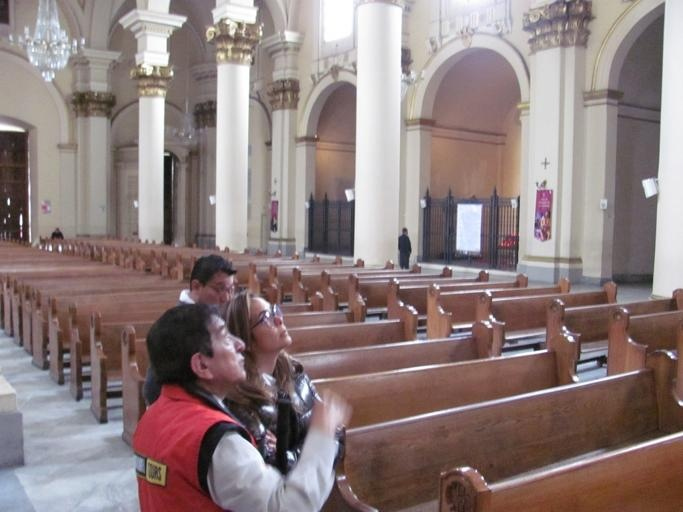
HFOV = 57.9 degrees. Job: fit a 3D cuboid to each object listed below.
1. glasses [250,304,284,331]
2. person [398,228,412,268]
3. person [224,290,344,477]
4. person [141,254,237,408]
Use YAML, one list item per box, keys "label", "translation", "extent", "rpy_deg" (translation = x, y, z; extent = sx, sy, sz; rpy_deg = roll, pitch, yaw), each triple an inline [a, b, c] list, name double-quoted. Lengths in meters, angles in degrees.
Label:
- label: "glasses"
  translation: [-0.362, 0.304, 3.067]
  extent: [0.108, 0.044, 0.087]
  rpy_deg: [-22, -2, 24]
- label: "person"
  translation: [1.524, -0.176, 14.887]
  extent: [0.268, 1.096, 0.240]
  rpy_deg: [-3, 26, -1]
- label: "person"
  translation: [-0.327, 0.639, 3.047]
  extent: [0.428, 0.958, 0.579]
  rpy_deg: [-2, 13, 35]
- label: "person"
  translation: [-0.994, 0.670, 4.543]
  extent: [0.589, 1.489, 0.487]
  rpy_deg: [-2, 16, 2]
